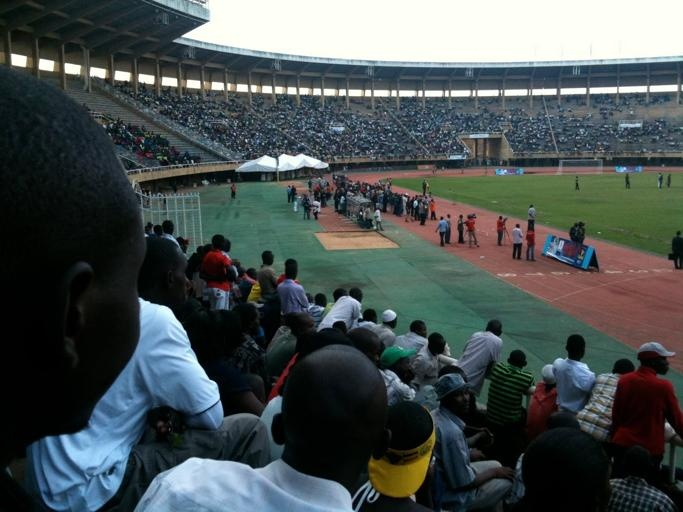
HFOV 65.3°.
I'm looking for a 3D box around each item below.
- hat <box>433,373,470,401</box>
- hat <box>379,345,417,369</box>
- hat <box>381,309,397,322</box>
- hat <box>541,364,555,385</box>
[{"bbox_3d":[1.053,1.298,5.221,0.199,0.127,0.283,-12,-14,-16],"label":"hat"},{"bbox_3d":[0.726,1.380,7.046,0.383,0.207,0.256,-20,8,-2],"label":"hat"},{"bbox_3d":[0.879,1.189,10.032,0.206,0.247,0.267,9,16,22],"label":"hat"},{"bbox_3d":[2.927,1.708,7.637,0.180,0.237,0.269,1,-11,30],"label":"hat"}]
